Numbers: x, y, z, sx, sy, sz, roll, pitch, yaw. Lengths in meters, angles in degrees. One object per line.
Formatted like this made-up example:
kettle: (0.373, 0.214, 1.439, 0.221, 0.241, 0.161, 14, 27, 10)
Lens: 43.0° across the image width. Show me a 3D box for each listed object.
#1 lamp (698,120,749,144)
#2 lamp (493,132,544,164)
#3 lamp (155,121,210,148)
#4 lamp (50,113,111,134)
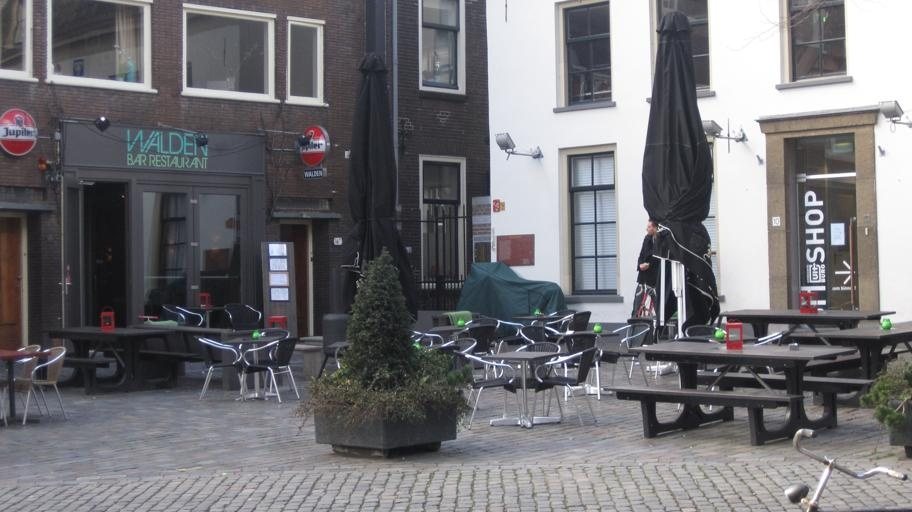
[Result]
lamp: (5.821, -2.690, 25.321, 1.166, 0.519, 0.832, -1, 1, -28)
lamp: (1.424, -2.615, 27.511, 1.071, 0.503, 0.601, -2, 3, -43)
lamp: (-6.333, -2.773, 26.765, 1.436, 0.451, 0.418, 17, -14, -18)
lamp: (-8.270, -2.982, 25.596, 1.163, 0.309, 0.434, -2, -1, -18)
